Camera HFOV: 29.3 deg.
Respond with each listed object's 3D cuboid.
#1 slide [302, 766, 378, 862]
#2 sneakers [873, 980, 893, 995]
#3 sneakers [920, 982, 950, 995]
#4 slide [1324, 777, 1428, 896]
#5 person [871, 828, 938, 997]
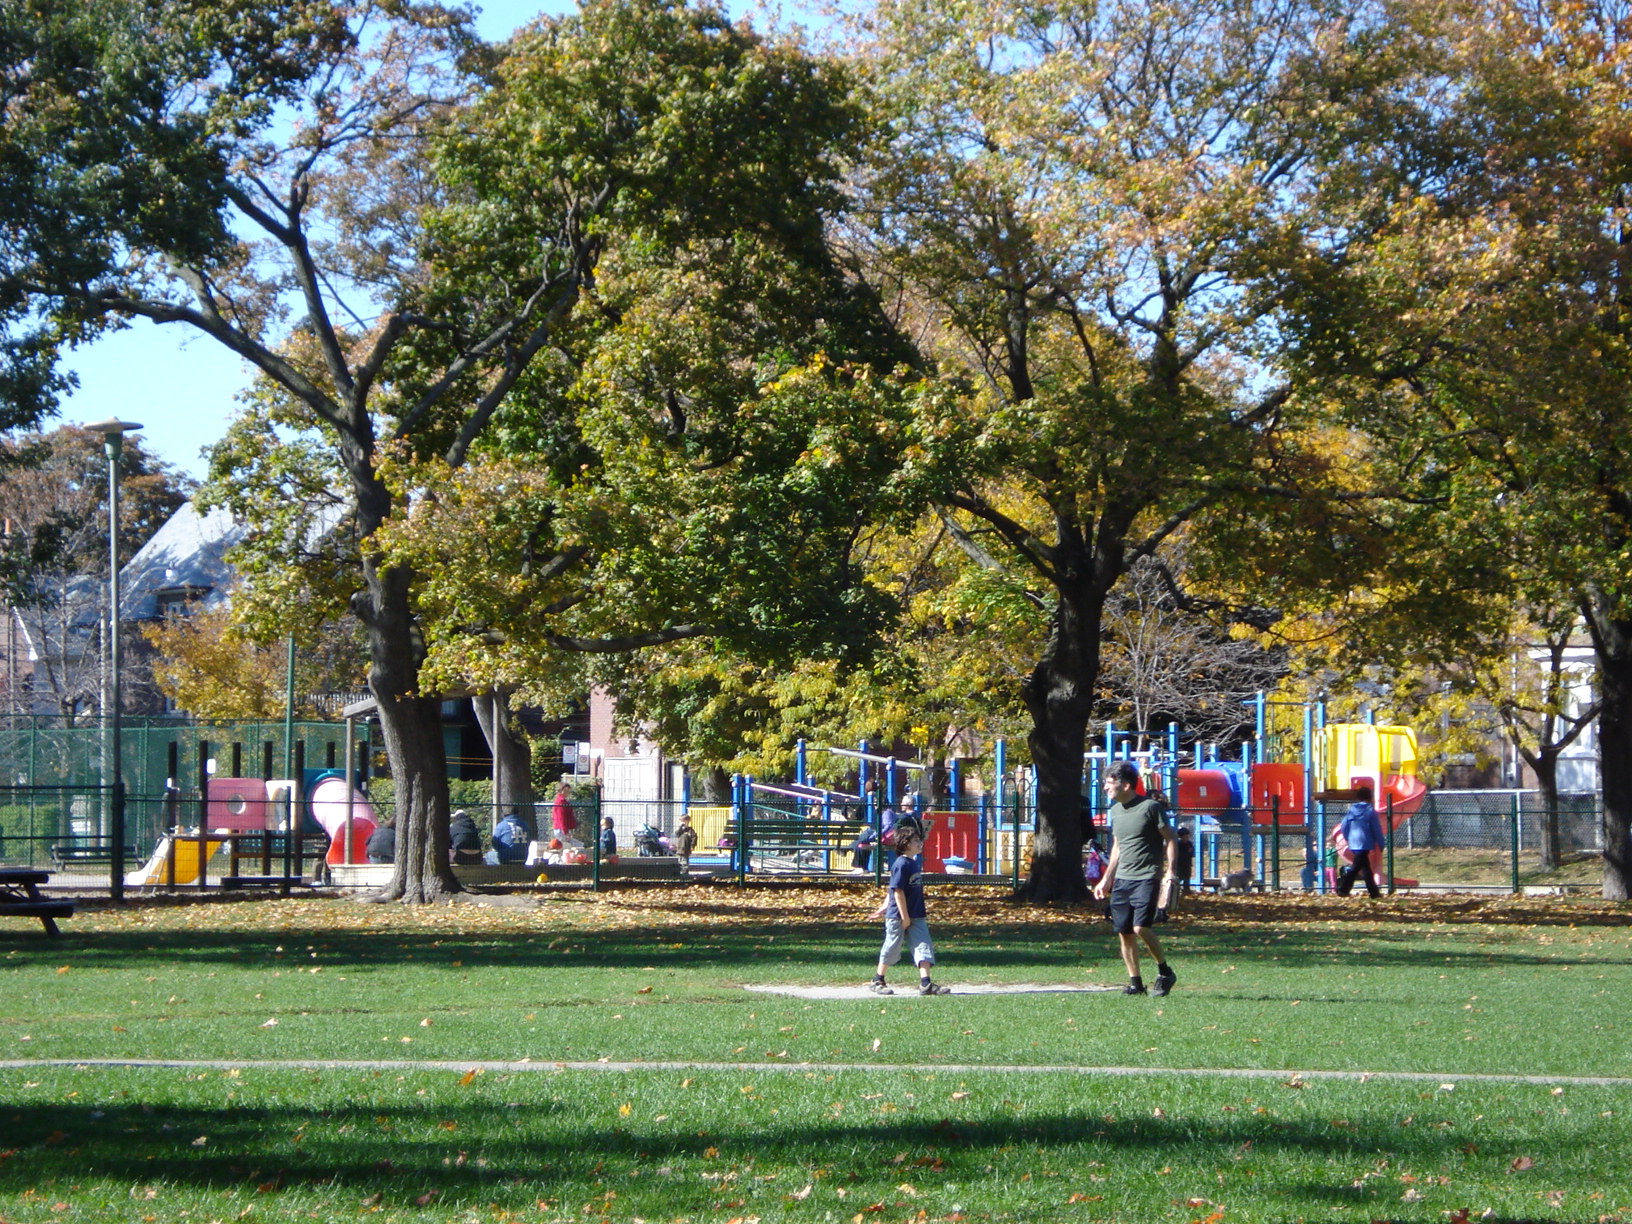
[{"bbox_3d":[-9.356,4.081,61.633,0.913,1.033,2.668,0,18,-18],"label":"slide"},{"bbox_3d":[0.852,4.869,40.129,0.114,0.161,0.336,0,-2,-35],"label":"sneakers"},{"bbox_3d":[1.530,4.872,40.055,0.364,0.177,0.138,1,-3,-7],"label":"sneakers"},{"bbox_3d":[10.355,4.333,58.080,1.468,2.336,1.570,2,-2,-25],"label":"slide"},{"bbox_3d":[1.152,3.932,40.713,0.806,2.111,0.857,1,-4,-11],"label":"person"}]
